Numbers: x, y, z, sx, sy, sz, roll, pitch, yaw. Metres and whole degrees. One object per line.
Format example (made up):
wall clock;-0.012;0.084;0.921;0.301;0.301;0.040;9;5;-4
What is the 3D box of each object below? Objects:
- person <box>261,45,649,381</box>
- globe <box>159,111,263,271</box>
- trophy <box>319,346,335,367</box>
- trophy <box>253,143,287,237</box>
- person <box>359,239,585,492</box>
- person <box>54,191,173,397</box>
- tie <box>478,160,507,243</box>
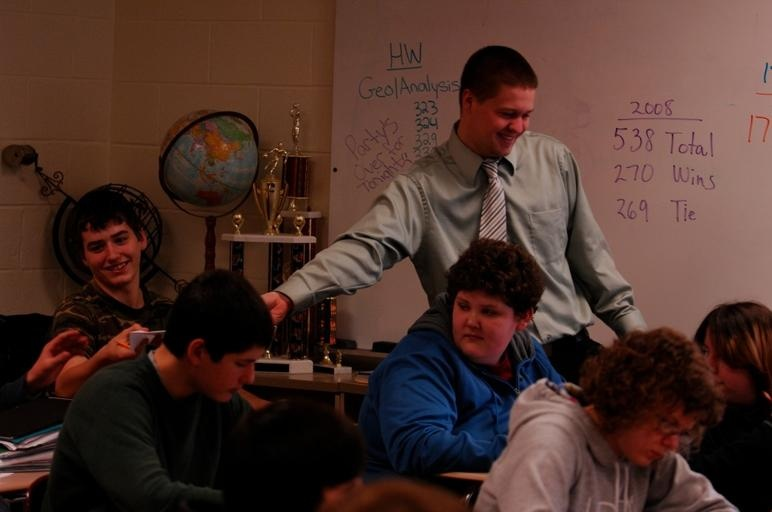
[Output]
person;0.346;-0.200;3.071;1.438;2.417;0.576;-1;-6;-11
globe;-1.000;-0.385;3.960;0.534;0.912;0.403;3;2;-10
trophy;-0.314;0.533;3.740;0.090;0.131;0.092;1;-6;-6
trophy;-0.629;-0.372;3.807;0.156;0.483;0.159;5;10;6
person;0.229;0.339;2.273;0.643;0.998;0.440;-1;5;-38
person;-1.207;0.308;3.198;0.418;1.107;0.540;-11;-3;27
tie;0.406;-0.217;2.691;0.094;0.299;0.070;2;2;-11
